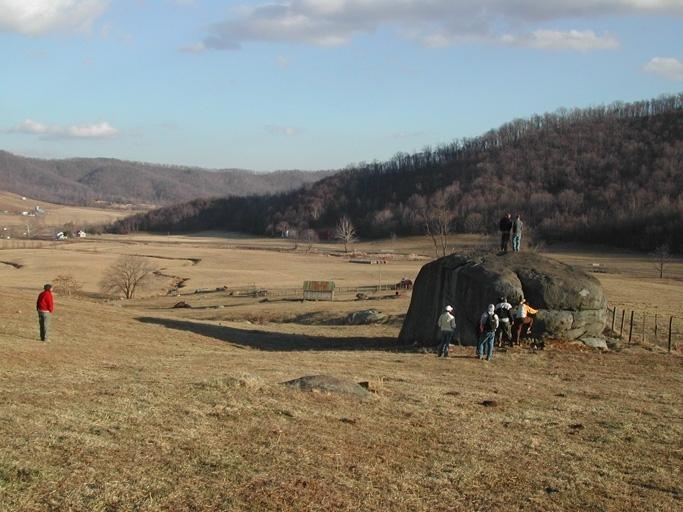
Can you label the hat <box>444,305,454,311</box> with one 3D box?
[{"bbox_3d":[4.767,2.325,30.040,0.368,0.199,0.523,2,2,15],"label":"hat"}]
